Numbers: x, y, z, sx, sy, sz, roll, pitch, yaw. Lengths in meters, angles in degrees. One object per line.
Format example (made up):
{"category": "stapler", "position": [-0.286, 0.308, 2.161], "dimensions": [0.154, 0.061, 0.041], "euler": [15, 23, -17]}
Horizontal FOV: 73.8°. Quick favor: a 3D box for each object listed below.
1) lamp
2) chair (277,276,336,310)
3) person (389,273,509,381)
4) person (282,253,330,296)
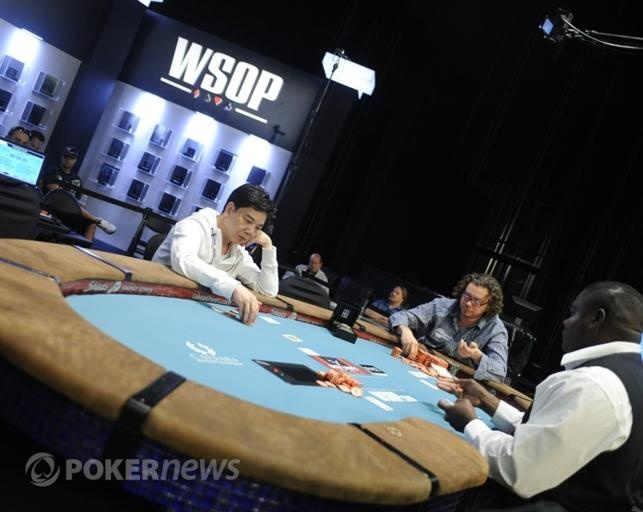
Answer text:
{"category": "lamp", "position": [0.123, -2.154, 7.303], "dimensions": [0.984, 3.100, 1.013], "euler": [19, 2, -10]}
{"category": "chair", "position": [-0.140, 0.336, 3.873], "dimensions": [0.380, 0.135, 0.276], "euler": [17, 18, -30]}
{"category": "person", "position": [1.226, 0.694, 4.166], "dimensions": [0.602, 0.880, 0.566], "euler": [38, -2, 18]}
{"category": "person", "position": [-0.191, 0.302, 6.930], "dimensions": [0.515, 0.290, 0.734], "euler": [19, 15, 41]}
